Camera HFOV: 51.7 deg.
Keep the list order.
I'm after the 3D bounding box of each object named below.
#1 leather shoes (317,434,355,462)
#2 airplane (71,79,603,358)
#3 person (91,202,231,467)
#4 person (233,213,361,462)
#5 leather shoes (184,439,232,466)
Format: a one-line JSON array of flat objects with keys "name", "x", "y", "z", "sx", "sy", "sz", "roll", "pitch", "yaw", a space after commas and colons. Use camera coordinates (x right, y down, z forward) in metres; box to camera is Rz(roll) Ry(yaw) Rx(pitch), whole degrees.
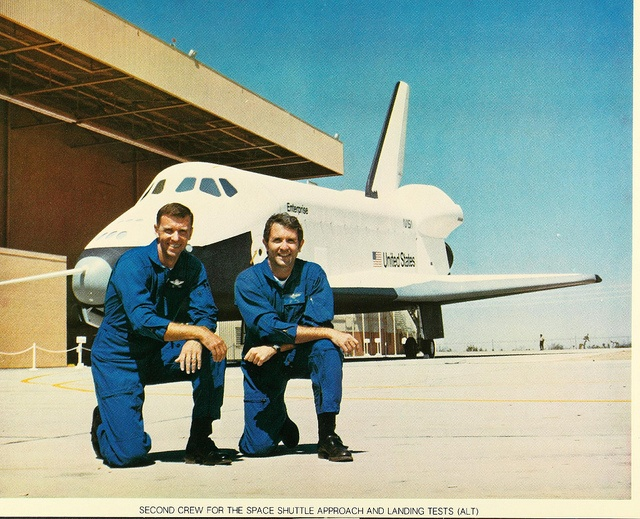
[{"name": "leather shoes", "x": 0.118, "y": 1.310, "z": 4.555, "sx": 0.118, "sy": 0.118, "sz": 0.278, "roll": 5, "pitch": -13, "yaw": -25}, {"name": "airplane", "x": -0.277, "y": -0.437, "z": 16.493, "sx": 9.816, "sy": 5.377, "sz": 9.865, "roll": -6, "pitch": -9, "yaw": 35}, {"name": "person", "x": -1.154, "y": 0.493, "z": 4.792, "sx": 0.942, "sy": 1.893, "sz": 0.723, "roll": 0, "pitch": -3, "yaw": -19}, {"name": "person", "x": -0.209, "y": 0.549, "z": 4.896, "sx": 0.916, "sy": 1.813, "sz": 0.527, "roll": -2, "pitch": -3, "yaw": 16}, {"name": "leather shoes", "x": -0.767, "y": 1.340, "z": 4.559, "sx": 0.311, "sy": 0.141, "sz": 0.140, "roll": -3, "pitch": -9, "yaw": 13}]
